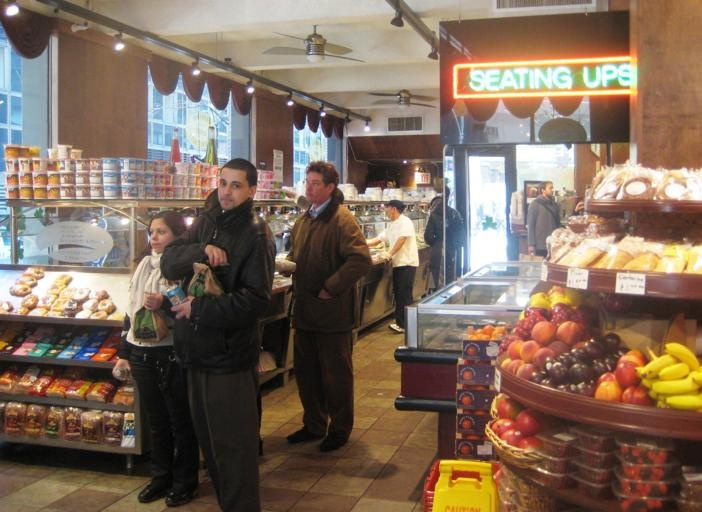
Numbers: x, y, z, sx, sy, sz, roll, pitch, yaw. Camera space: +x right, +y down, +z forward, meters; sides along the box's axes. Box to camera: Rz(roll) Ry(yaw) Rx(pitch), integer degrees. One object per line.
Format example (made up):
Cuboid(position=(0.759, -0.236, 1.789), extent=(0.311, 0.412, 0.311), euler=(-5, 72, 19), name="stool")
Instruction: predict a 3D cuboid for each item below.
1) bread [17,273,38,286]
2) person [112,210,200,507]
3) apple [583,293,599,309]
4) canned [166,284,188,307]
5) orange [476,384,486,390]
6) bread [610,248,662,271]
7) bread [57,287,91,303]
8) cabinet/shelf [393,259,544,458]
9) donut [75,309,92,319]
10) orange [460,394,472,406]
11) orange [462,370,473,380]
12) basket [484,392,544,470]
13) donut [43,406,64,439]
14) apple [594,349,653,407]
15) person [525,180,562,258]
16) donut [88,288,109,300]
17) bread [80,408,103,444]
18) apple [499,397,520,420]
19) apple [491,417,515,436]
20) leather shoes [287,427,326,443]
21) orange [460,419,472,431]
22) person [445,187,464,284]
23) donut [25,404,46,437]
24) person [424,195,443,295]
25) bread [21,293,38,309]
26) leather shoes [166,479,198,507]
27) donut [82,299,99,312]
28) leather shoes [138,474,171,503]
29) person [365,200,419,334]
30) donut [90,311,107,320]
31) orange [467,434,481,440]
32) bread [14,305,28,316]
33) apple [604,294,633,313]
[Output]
Cuboid(position=(-2.387, 0.177, 4.010), extent=(0.091, 0.040, 0.121), euler=(24, 26, 26), name="bread")
Cuboid(position=(-1.175, 0.589, 3.438), extent=(0.477, 1.721, 0.503), euler=(0, 1, 19), name="person")
Cuboid(position=(1.068, 0.195, 2.425), extent=(0.063, 0.064, 0.076), euler=(-10, 14, -28), name="apple")
Cuboid(position=(-0.970, 0.224, 3.032), extent=(0.060, 0.067, 0.110), euler=(-30, 8, -23), name="canned")
Cuboid(position=(0.711, 0.715, 2.971), extent=(0.066, 0.024, 0.020), euler=(0, 5, -3), name="orange")
Cuboid(position=(1.116, 0.024, 2.105), extent=(0.096, 0.030, 0.098), euler=(-22, 17, -10), name="bread")
Cuboid(position=(-1.955, 0.271, 3.838), extent=(0.134, 0.042, 0.136), euler=(0, 9, -2), name="bread")
Cuboid(position=(0.755, 0.509, 3.537), extent=(0.754, 1.602, 0.745), euler=(1, 4, 26), name="cabinet/shelf")
Cuboid(position=(-1.827, 0.397, 3.711), extent=(0.116, 0.049, 0.054), euler=(2, 6, 14), name="donut")
Cuboid(position=(0.633, 0.783, 2.973), extent=(0.053, 0.037, 0.054), euler=(0, -3, -15), name="orange")
Cuboid(position=(0.635, 0.649, 2.979), extent=(0.054, 0.056, 0.053), euler=(-1, 15, 1), name="orange")
Cuboid(position=(0.660, 0.726, 2.298), extent=(0.247, 0.253, 0.260), euler=(1, 7, 12), name="basket")
Cuboid(position=(-2.066, 1.160, 3.791), extent=(0.142, 0.200, 0.046), euler=(2, 5, 18), name="donut")
Cuboid(position=(1.000, 0.453, 1.977), extent=(0.185, 0.075, 0.138), euler=(-33, 32, -33), name="apple")
Cuboid(position=(2.789, -0.484, 7.787), extent=(0.501, 1.250, 0.351), euler=(4, -32, 23), name="person")
Cuboid(position=(-1.756, 0.278, 3.797), extent=(0.128, 0.071, 0.075), euler=(-2, 6, -18), name="donut")
Cuboid(position=(-1.770, 1.164, 3.724), extent=(0.161, 0.211, 0.060), euler=(3, 6, 25), name="bread")
Cuboid(position=(0.684, 0.666, 2.360), extent=(0.076, 0.093, 0.077), euler=(1, 3, 6), name="apple")
Cuboid(position=(0.649, 0.709, 2.318), extent=(0.069, 0.069, 0.064), euler=(17, 17, 37), name="apple")
Cuboid(position=(-0.352, 1.353, 4.142), extent=(0.303, 0.133, 0.107), euler=(4, -1, -17), name="leather shoes")
Cuboid(position=(0.630, 0.923, 2.980), extent=(0.057, 0.035, 0.056), euler=(-2, 1, -40), name="orange")
Cuboid(position=(1.166, -0.161, 6.166), extent=(0.229, 1.254, 0.312), euler=(4, 13, 10), name="person")
Cuboid(position=(-2.212, 1.151, 3.812), extent=(0.162, 0.198, 0.057), euler=(1, 5, 11), name="donut")
Cuboid(position=(1.318, -0.109, 8.529), extent=(0.379, 1.500, 0.421), euler=(6, 11, 7), name="person")
Cuboid(position=(-2.302, 0.324, 3.907), extent=(0.085, 0.036, 0.111), euler=(6, 44, 13), name="bread")
Cuboid(position=(-1.019, 1.441, 3.303), extent=(0.078, 0.099, 0.223), euler=(-1, -9, 22), name="leather shoes")
Cuboid(position=(-1.799, 0.338, 3.745), extent=(0.077, 0.037, 0.072), euler=(33, 50, 31), name="donut")
Cuboid(position=(-1.185, 1.427, 3.348), extent=(0.084, 0.105, 0.238), euler=(1, -9, 20), name="leather shoes")
Cuboid(position=(0.601, 0.032, 7.448), extent=(0.607, 1.937, 0.678), euler=(6, 11, -11), name="person")
Cuboid(position=(-1.717, 0.407, 3.691), extent=(0.066, 0.026, 0.068), euler=(1, 8, -8), name="donut")
Cuboid(position=(0.678, 0.992, 2.981), extent=(0.086, 0.032, 0.021), euler=(0, 5, 3), name="orange")
Cuboid(position=(-2.344, 0.389, 3.869), extent=(0.077, 0.029, 0.076), euler=(2, 25, -1), name="bread")
Cuboid(position=(1.172, 0.212, 2.381), extent=(0.080, 0.045, 0.083), euler=(-3, 26, -1), name="apple")
